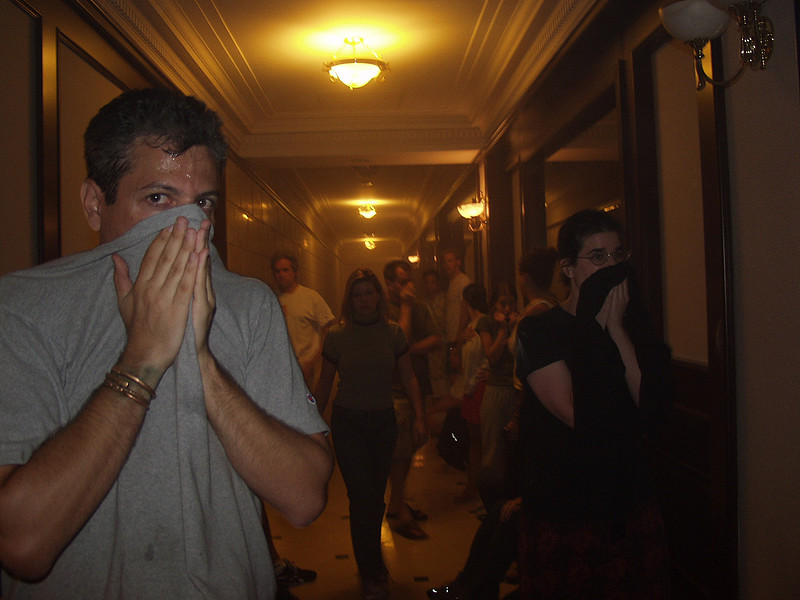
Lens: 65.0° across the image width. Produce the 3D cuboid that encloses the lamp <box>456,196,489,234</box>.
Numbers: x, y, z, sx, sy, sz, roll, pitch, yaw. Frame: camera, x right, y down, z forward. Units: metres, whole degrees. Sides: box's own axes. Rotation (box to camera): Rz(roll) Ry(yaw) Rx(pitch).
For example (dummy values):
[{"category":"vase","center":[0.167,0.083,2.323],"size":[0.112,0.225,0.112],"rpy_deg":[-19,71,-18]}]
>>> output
[{"category":"lamp","center":[0.875,-1.001,7.298],"size":[0.387,0.488,0.418],"rpy_deg":[1,9,6]}]

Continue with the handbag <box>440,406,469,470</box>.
[{"category":"handbag","center":[0.428,1.060,4.776],"size":[0.107,0.459,0.311],"rpy_deg":[-5,-9,-29]}]

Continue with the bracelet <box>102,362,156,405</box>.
[{"category":"bracelet","center":[-0.633,0.201,1.487],"size":[0.094,0.041,0.093],"rpy_deg":[13,-22,44]}]

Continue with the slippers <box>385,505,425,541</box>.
[{"category":"slippers","center":[0.042,1.465,4.111],"size":[0.103,0.228,0.316],"rpy_deg":[2,-24,-24]}]

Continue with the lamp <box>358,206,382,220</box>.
[{"category":"lamp","center":[-0.571,-1.711,12.137],"size":[0.245,0.160,0.271],"rpy_deg":[2,-11,2]}]
